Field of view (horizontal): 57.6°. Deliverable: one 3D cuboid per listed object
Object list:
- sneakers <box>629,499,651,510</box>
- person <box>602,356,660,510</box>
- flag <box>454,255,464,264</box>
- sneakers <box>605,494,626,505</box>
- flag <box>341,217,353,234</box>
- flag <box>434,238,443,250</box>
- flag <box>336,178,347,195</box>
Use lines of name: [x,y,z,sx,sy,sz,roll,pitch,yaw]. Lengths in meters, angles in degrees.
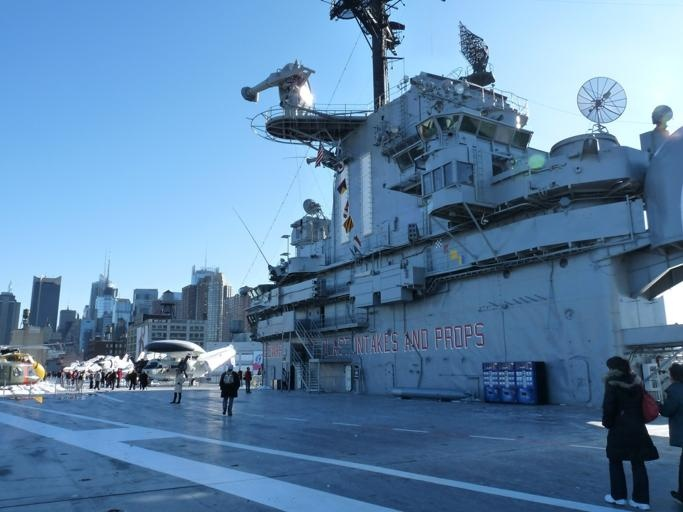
sneakers: [6.352,5.289,13.328,0.178,0.205,0.446,13,-9,-33]
person: [6.205,3.859,13.587,1.142,3.369,0.815,-7,0,-16]
flag: [6.562,0.178,34.730,0.146,0.495,0.688,-7,-1,-17]
sneakers: [5.932,5.280,13.461,0.468,0.232,0.253,-8,0,21]
flag: [0.394,-2.250,44.206,1.143,0.537,1.581,28,3,0]
flag: [5.707,-0.733,36.679,0.115,0.522,0.493,19,-16,-26]
flag: [-0.020,-5.248,46.065,0.075,0.974,1.253,-16,-22,-26]
